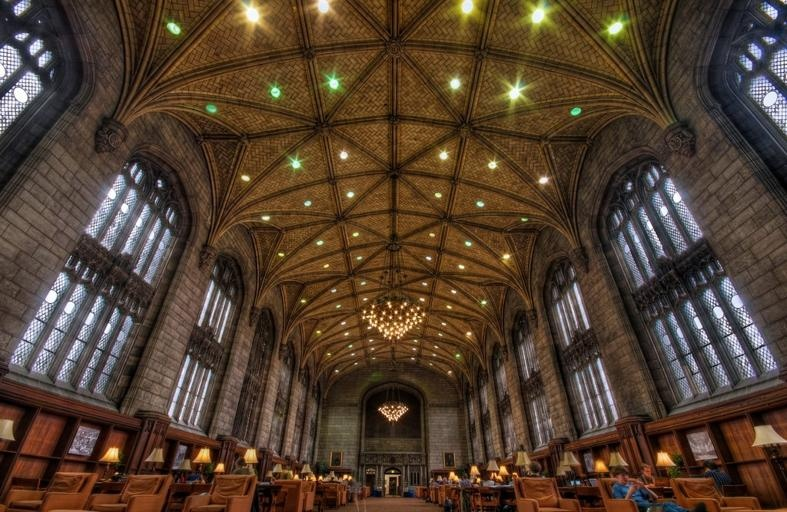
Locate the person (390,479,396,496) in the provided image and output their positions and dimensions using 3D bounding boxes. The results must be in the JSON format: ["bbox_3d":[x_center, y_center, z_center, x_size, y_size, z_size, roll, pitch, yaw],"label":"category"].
[{"bbox_3d":[0.033,17.319,32.031,0.469,0.936,0.300,2,-34,0],"label":"person"}]
